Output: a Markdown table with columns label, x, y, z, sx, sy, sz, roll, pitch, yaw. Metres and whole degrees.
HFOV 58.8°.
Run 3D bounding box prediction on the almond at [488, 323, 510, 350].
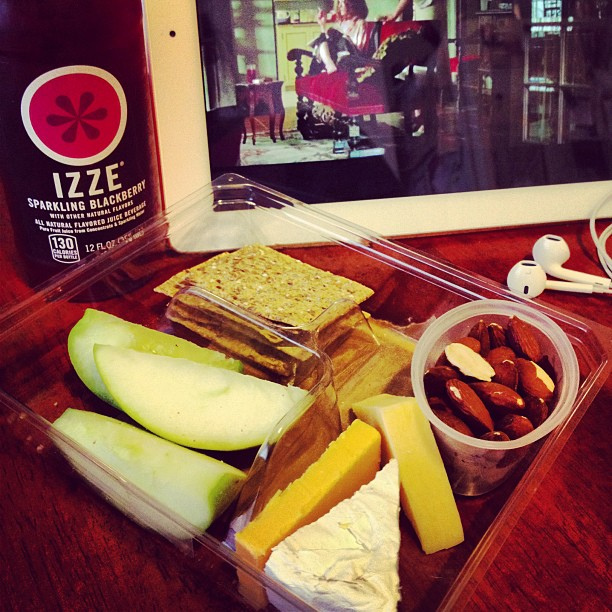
| label | x | y | z | sx | sy | sz | roll | pitch | yaw |
| --- | --- | --- | --- | --- | --- | --- | --- | --- | --- |
| almond | 0.104 | 0.017 | 0.297 | 0.011 | 0.005 | 0.013 | -11 | 70 | -7 |

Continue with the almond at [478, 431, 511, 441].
| label | x | y | z | sx | sy | sz | roll | pitch | yaw |
| --- | --- | --- | --- | --- | --- | --- | --- | --- | --- |
| almond | 0.087 | 0.060 | 0.252 | 0.014 | 0.004 | 0.006 | 1 | 20 | 5 |

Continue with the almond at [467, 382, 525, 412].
| label | x | y | z | sx | sy | sz | roll | pitch | yaw |
| --- | --- | --- | --- | --- | --- | --- | --- | --- | --- |
| almond | 0.092 | 0.044 | 0.265 | 0.023 | 0.007 | 0.012 | 20 | 46 | 30 |

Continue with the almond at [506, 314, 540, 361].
| label | x | y | z | sx | sy | sz | roll | pitch | yaw |
| --- | --- | --- | --- | --- | --- | --- | --- | --- | --- |
| almond | 0.114 | 0.017 | 0.292 | 0.016 | 0.008 | 0.022 | -26 | 68 | -5 |

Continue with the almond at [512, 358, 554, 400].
| label | x | y | z | sx | sy | sz | roll | pitch | yaw |
| --- | --- | --- | --- | --- | --- | --- | --- | --- | --- |
| almond | 0.112 | 0.037 | 0.273 | 0.015 | 0.007 | 0.020 | -28 | 56 | -10 |

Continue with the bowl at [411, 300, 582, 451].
| label | x | y | z | sx | sy | sz | roll | pitch | yaw |
| --- | --- | --- | --- | --- | --- | --- | --- | --- | --- |
| bowl | 0.094 | 0.041 | 0.282 | 0.094 | 0.080 | 0.029 | 12 | 60 | 4 |

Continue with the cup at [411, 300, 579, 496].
| label | x | y | z | sx | sy | sz | roll | pitch | yaw |
| --- | --- | --- | --- | --- | --- | --- | --- | --- | --- |
| cup | 0.094 | 0.049 | 0.331 | 0.095 | 0.069 | 0.098 | -1 | 54 | 2 |

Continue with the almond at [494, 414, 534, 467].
| label | x | y | z | sx | sy | sz | roll | pitch | yaw |
| --- | --- | --- | --- | --- | --- | --- | --- | --- | --- |
| almond | 0.098 | 0.058 | 0.263 | 0.024 | 0.015 | 0.021 | 6 | 25 | 11 |

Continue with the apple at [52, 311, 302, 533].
| label | x | y | z | sx | sy | sz | roll | pitch | yaw |
| --- | --- | --- | --- | --- | --- | --- | --- | --- | --- |
| apple | -0.064 | 0.071 | 0.307 | 0.132 | 0.042 | 0.087 | 20 | 49 | 21 |

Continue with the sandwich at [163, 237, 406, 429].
| label | x | y | z | sx | sy | sz | roll | pitch | yaw |
| --- | --- | --- | --- | --- | --- | --- | --- | --- | --- |
| sandwich | -0.024 | 0.018 | 0.378 | 0.153 | 0.032 | 0.101 | 30 | 42 | 22 |

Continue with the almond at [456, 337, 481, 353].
| label | x | y | z | sx | sy | sz | roll | pitch | yaw |
| --- | --- | --- | --- | --- | --- | --- | --- | --- | --- |
| almond | 0.089 | 0.021 | 0.299 | 0.012 | 0.005 | 0.008 | 3 | 14 | 4 |

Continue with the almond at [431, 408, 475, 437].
| label | x | y | z | sx | sy | sz | roll | pitch | yaw |
| --- | --- | --- | --- | --- | --- | --- | --- | --- | --- |
| almond | 0.072 | 0.056 | 0.259 | 0.021 | 0.005 | 0.011 | 25 | 51 | 17 |
